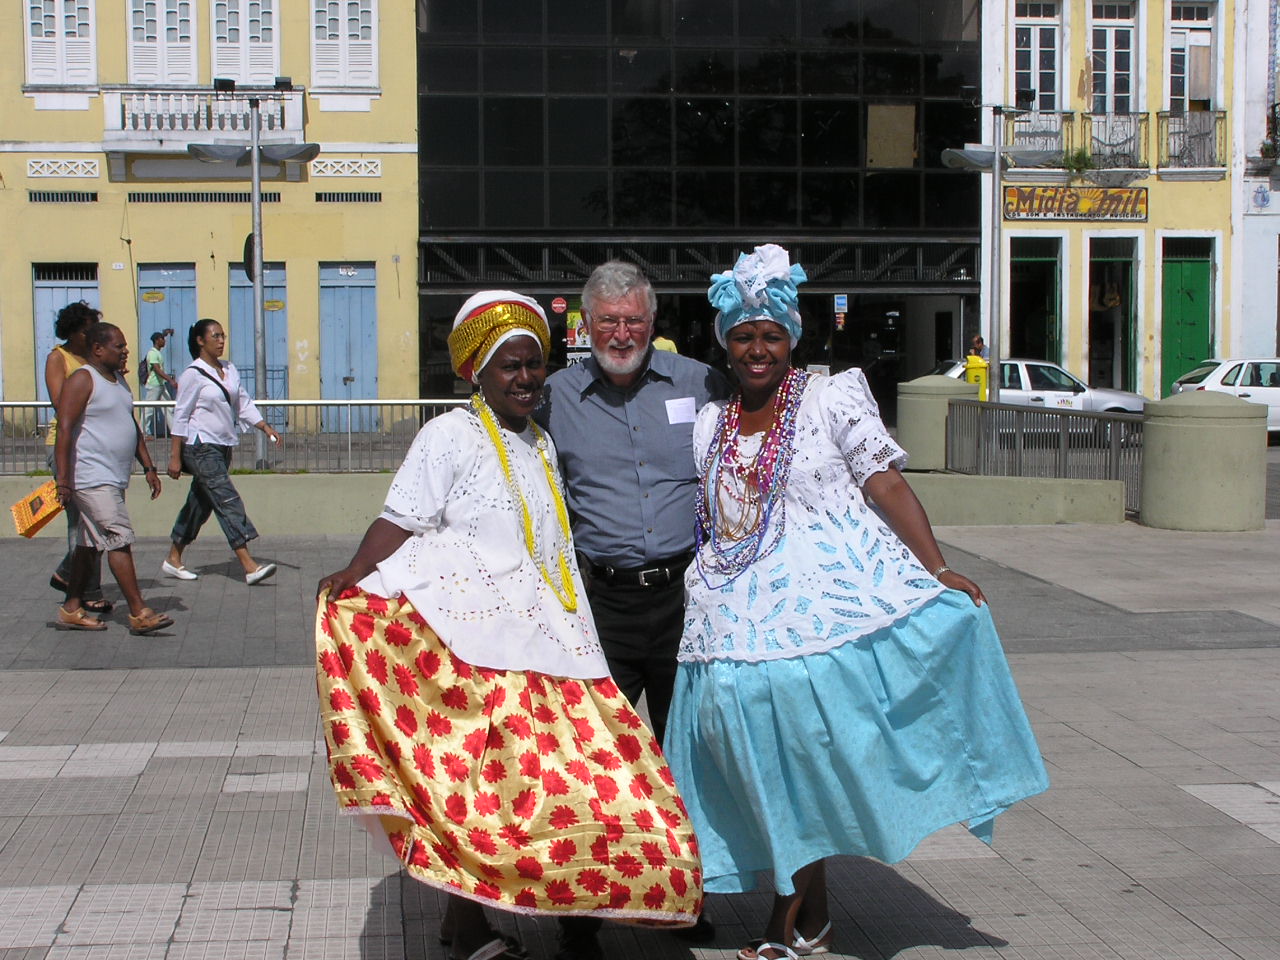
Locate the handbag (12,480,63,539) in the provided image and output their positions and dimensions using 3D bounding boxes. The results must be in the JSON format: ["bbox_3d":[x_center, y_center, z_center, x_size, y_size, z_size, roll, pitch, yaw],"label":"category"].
[{"bbox_3d":[-4.554,0.206,12.502,0.396,0.395,0.149,-41,-26,10],"label":"handbag"}]

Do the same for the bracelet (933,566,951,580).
[{"bbox_3d":[1.129,0.352,6.197,0.047,0.058,0.145,-3,-1,-3],"label":"bracelet"}]

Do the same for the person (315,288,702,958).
[{"bbox_3d":[-0.511,0.655,6.078,1.312,1.816,0.881,-2,9,-5],"label":"person"}]

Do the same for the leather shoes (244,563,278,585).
[{"bbox_3d":[-2.990,0.759,12.954,0.295,0.109,0.119,-22,-5,37],"label":"leather shoes"}]

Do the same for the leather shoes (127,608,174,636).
[{"bbox_3d":[-3.266,0.957,11.021,0.302,0.136,0.166,-5,6,27],"label":"leather shoes"}]

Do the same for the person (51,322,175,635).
[{"bbox_3d":[-3.609,-0.004,11.176,0.705,2.068,1.005,-4,9,-19],"label":"person"}]

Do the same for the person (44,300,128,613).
[{"bbox_3d":[-3.766,-0.264,11.479,0.578,1.840,0.552,-6,8,-41],"label":"person"}]

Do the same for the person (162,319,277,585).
[{"bbox_3d":[-3.404,-0.208,13.157,0.818,2.081,1.126,-4,9,-16],"label":"person"}]

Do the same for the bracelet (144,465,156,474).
[{"bbox_3d":[-3.573,-0.076,12.112,0.105,0.067,0.065,1,2,-8],"label":"bracelet"}]

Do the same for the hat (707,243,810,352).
[{"bbox_3d":[0.484,-0.711,6.461,0.386,0.392,0.223,14,12,20],"label":"hat"}]

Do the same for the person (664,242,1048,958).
[{"bbox_3d":[0.734,0.331,6.234,1.292,2.390,0.763,-1,9,1],"label":"person"}]
